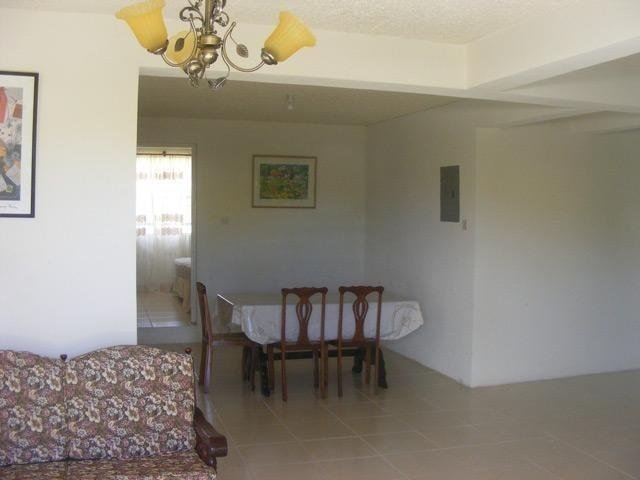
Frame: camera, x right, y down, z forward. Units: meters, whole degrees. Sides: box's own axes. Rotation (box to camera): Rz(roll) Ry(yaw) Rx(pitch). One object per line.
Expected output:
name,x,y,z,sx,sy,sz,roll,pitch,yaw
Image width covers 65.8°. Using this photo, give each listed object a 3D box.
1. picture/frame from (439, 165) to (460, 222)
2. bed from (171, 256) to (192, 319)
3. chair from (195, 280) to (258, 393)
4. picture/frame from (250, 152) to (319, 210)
picture/frame,1.456,-0.512,5.563,0.080,0.630,0.371,-1,5,-16
bed,-2.684,0.798,9.608,0.337,0.748,2.065,-1,5,-17
chair,-1.009,0.984,5.660,0.932,1.543,0.900,0,4,-13
picture/frame,-0.572,-0.881,7.203,0.791,0.695,0.031,1,0,-15
